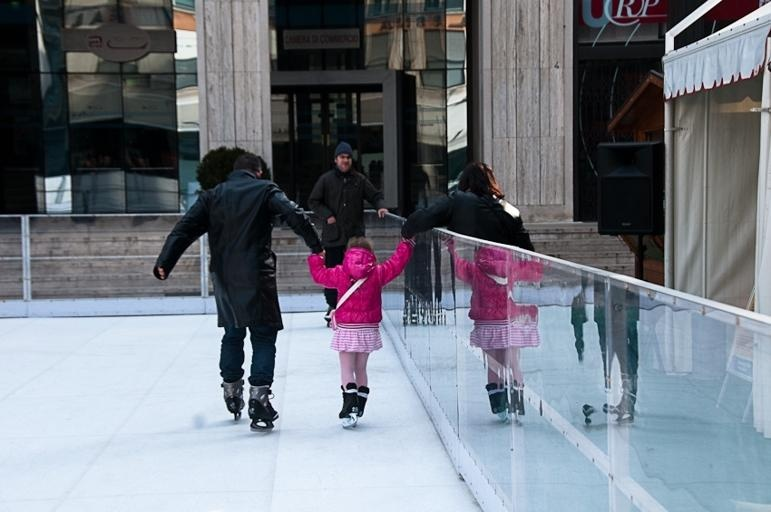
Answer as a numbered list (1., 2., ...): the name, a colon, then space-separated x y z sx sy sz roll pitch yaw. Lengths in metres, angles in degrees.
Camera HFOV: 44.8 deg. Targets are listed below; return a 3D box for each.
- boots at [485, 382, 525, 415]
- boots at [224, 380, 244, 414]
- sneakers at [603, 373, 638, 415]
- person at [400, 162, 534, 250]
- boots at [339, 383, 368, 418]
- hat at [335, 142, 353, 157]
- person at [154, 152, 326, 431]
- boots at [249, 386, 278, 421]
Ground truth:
1. boots: 0.988 1.155 7.650 0.335 0.166 0.451 0 1 1
2. boots: -1.621 1.437 10.001 0.182 0.384 0.540 -4 9 -3
3. sneakers: 1.645 0.964 6.496 0.153 0.318 0.258 -1 9 -31
4. person: 0.846 -0.507 9.472 1.266 0.843 0.424 1 10 8
5. boots: -0.335 1.499 9.699 0.307 0.432 0.186 -3 10 -12
6. hat: -0.548 -1.449 12.342 0.225 0.235 0.314 0 -3 -12
7. person: -1.500 0.371 9.698 1.467 2.774 0.866 -4 11 -21
8. boots: -1.278 1.535 9.660 0.289 0.476 0.285 -2 10 -11
